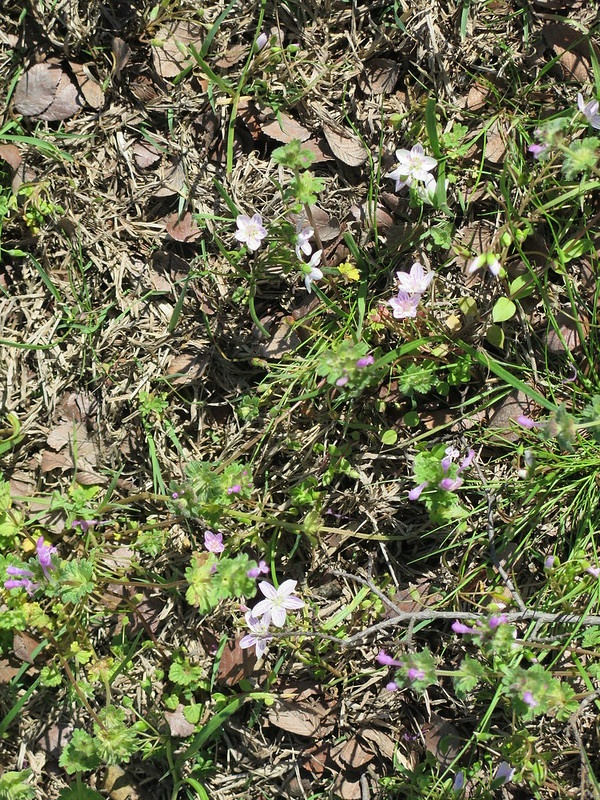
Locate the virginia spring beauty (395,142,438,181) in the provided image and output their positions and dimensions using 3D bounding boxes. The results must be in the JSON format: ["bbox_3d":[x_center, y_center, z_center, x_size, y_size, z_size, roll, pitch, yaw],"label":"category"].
[{"bbox_3d":[0.423,-0.868,2.542,0.168,0.141,0.103,-9,63,9],"label":"virginia spring beauty"}]

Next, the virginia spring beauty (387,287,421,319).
[{"bbox_3d":[0.372,-0.329,2.418,0.095,0.121,0.100,6,66,16],"label":"virginia spring beauty"}]
